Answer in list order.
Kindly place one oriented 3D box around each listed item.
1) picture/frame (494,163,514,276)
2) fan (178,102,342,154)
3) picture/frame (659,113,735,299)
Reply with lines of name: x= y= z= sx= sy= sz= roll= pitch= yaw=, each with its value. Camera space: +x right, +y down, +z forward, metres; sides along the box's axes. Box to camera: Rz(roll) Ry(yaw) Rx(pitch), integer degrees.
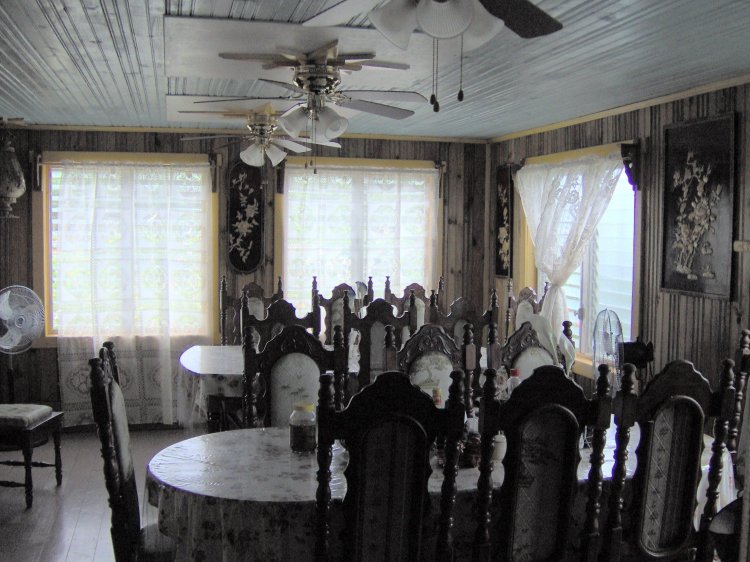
picture/frame: x=1.339 y=-0.618 z=6.628 sx=0.128 sy=1.153 sz=0.423 roll=1 pitch=3 yaw=-5
fan: x=-0.754 y=-1.097 z=4.328 sx=0.920 sy=0.213 sz=0.937 roll=30 pitch=23 yaw=30
picture/frame: x=2.214 y=-0.503 z=4.409 sx=0.092 sy=1.197 sz=0.613 roll=1 pitch=3 yaw=-14
